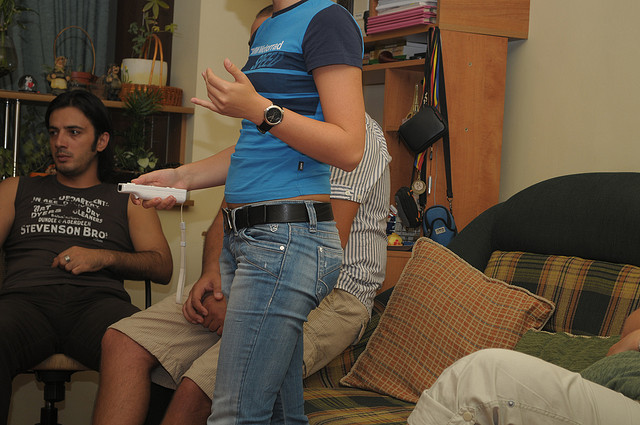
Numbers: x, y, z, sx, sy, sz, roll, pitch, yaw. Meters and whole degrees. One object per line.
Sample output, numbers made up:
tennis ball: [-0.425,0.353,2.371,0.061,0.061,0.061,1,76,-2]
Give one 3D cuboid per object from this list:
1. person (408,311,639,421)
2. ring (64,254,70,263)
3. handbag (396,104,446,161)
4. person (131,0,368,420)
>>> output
person: [0.654,0.556,1.549,0.682,0.303,0.210,6,9,-7]
ring: [-1.180,0.206,2.347,0.021,0.030,0.009,-17,-14,-20]
handbag: [0.555,-0.449,2.765,0.105,0.291,0.251,-2,12,-40]
person: [-0.216,0.058,1.527,0.405,1.376,0.552,-2,12,-43]
